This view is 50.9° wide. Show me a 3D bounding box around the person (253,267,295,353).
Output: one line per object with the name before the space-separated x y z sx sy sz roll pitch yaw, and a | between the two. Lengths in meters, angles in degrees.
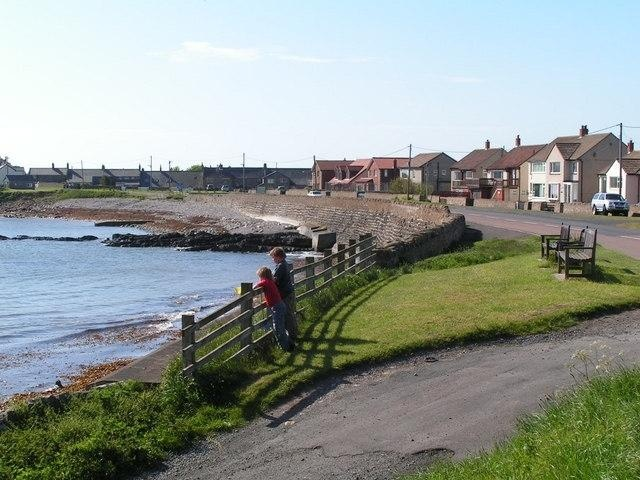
person | -0.996 1.433 14.320 0.722 1.718 0.772 -6 13 -6

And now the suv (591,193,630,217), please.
suv | 20.080 -2.545 46.985 1.280 1.262 2.787 0 -1 -1
